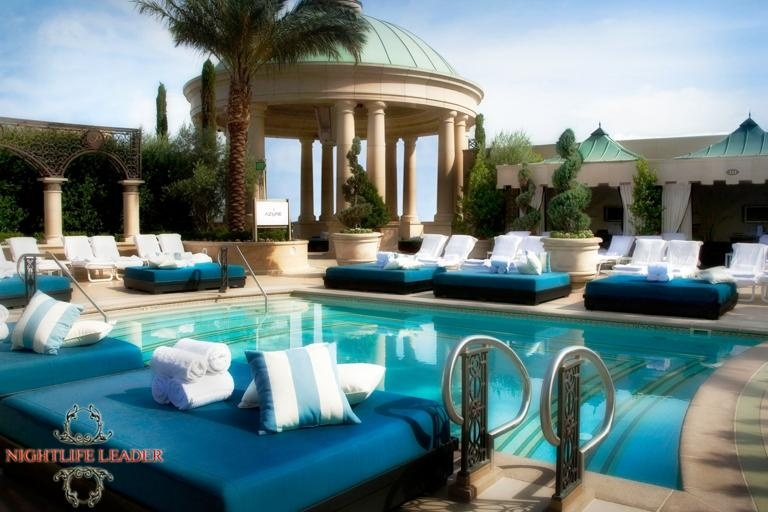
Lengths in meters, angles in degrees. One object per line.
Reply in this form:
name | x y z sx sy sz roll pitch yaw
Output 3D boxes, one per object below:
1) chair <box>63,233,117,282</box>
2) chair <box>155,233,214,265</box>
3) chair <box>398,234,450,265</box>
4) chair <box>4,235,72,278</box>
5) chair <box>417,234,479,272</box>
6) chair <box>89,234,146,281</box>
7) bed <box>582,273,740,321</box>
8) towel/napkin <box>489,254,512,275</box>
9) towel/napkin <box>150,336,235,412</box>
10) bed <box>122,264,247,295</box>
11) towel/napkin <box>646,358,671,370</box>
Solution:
chair | -9.263 0.013 16.217 1.350 1.280 2.037 -2 3 -42
chair | -6.492 -0.209 16.383 1.684 0.928 1.122 5 7 38
chair | 1.461 -0.257 16.163 0.844 0.740 1.312 4 4 29
chair | -9.524 0.026 14.073 2.520 1.062 1.083 2 4 44
chair | 1.803 0.058 16.013 1.533 0.634 1.150 -8 -5 1
chair | -8.383 -0.021 16.056 1.966 1.147 1.266 10 11 41
bed | 5.712 0.870 10.794 2.557 0.697 0.570 5 9 27
towel/napkin | 3.038 0.211 13.180 0.426 0.256 0.755 1 7 15
towel/napkin | -1.828 1.088 4.907 0.562 0.547 0.704 3 3 44
bed | -5.712 0.604 13.994 2.401 0.678 1.416 -3 8 -21
towel/napkin | 4.286 1.657 7.930 0.201 0.050 0.194 -4 3 -21
